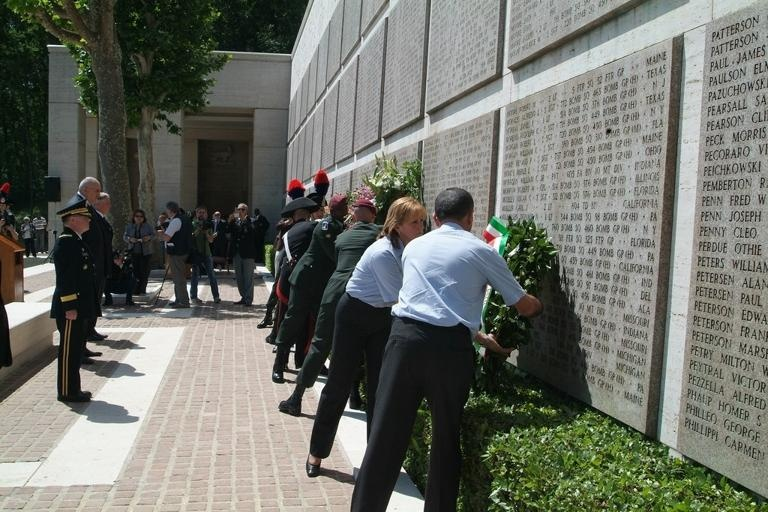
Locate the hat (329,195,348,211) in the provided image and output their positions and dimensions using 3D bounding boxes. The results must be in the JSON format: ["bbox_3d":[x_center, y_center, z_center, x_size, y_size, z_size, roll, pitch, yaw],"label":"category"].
[{"bbox_3d":[-0.486,-0.574,7.403,0.136,0.188,0.185,-2,13,-17],"label":"hat"}]

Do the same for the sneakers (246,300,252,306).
[{"bbox_3d":[-2.800,0.980,14.308,0.126,0.133,0.068,1,7,-1],"label":"sneakers"}]

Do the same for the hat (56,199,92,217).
[{"bbox_3d":[-3.348,-0.500,7.469,0.306,0.170,0.284,-2,3,-8],"label":"hat"}]

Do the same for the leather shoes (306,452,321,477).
[{"bbox_3d":[-0.606,1.793,5.877,0.080,0.090,0.234,2,8,-6],"label":"leather shoes"}]

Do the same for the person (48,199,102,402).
[{"bbox_3d":[-3.326,0.481,7.384,0.446,2.136,0.564,-1,7,-17],"label":"person"}]

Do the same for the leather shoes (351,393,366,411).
[{"bbox_3d":[-0.282,1.588,7.470,0.150,0.161,0.150,-3,-14,4],"label":"leather shoes"}]

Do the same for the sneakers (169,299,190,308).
[{"bbox_3d":[-4.027,0.918,13.602,0.424,0.192,0.162,7,3,-5],"label":"sneakers"}]

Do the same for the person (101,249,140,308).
[{"bbox_3d":[-5.087,0.414,13.460,0.590,1.085,0.703,-14,-23,4],"label":"person"}]

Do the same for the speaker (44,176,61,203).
[{"bbox_3d":[-12.649,-2.587,26.454,0.548,0.961,0.451,-2,8,-30],"label":"speaker"}]

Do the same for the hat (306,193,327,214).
[{"bbox_3d":[-0.942,-0.800,9.994,0.376,0.355,0.364,-2,5,-20],"label":"hat"}]

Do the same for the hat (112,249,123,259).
[{"bbox_3d":[-4.514,-0.037,11.676,0.271,0.128,0.215,2,-3,-9],"label":"hat"}]
